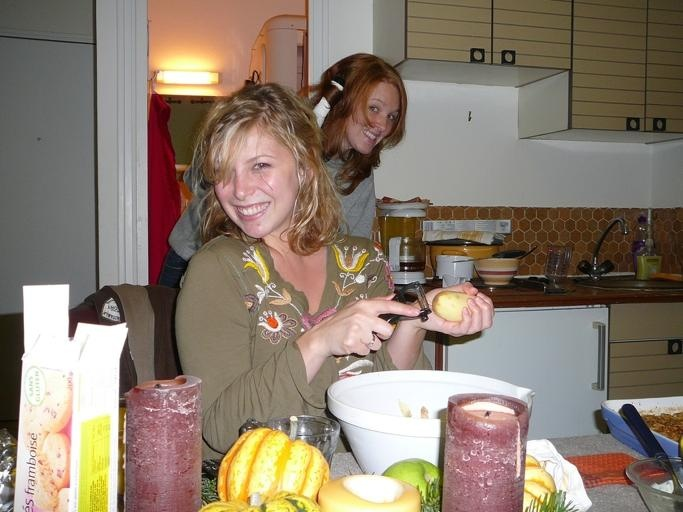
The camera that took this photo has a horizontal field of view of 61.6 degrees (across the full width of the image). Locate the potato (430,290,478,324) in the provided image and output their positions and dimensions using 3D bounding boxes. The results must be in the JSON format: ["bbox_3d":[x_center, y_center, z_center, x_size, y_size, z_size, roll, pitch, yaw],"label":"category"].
[{"bbox_3d":[0.248,0.111,1.261,0.076,0.060,0.045,12,16,-27],"label":"potato"}]

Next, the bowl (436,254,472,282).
[{"bbox_3d":[0.522,0.048,2.682,0.119,0.084,0.124,4,5,0],"label":"bowl"}]

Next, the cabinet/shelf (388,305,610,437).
[{"bbox_3d":[0.732,0.412,2.646,0.845,0.872,0.518,0,4,-4],"label":"cabinet/shelf"}]

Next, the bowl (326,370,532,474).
[{"bbox_3d":[0.131,0.279,1.061,0.261,0.110,0.248,0,4,0],"label":"bowl"}]

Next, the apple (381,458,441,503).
[{"bbox_3d":[0.110,0.332,0.865,0.065,0.069,0.069,5,20,-1],"label":"apple"}]

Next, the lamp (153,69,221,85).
[{"bbox_3d":[-1.039,-1.183,3.792,0.406,0.088,0.089,1,34,-10],"label":"lamp"}]

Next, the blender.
[{"bbox_3d":[0.312,-0.074,2.812,0.220,0.420,0.292,5,29,16],"label":"blender"}]

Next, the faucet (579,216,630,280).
[{"bbox_3d":[1.420,-0.042,3.144,0.230,0.321,0.509,1,5,23],"label":"faucet"}]

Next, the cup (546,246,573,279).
[{"bbox_3d":[1.017,0.034,2.690,0.107,0.153,0.155,3,6,42],"label":"cup"}]

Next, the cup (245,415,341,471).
[{"bbox_3d":[-0.077,0.285,0.950,0.106,0.096,0.093,0,9,-4],"label":"cup"}]

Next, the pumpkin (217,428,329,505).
[{"bbox_3d":[-0.094,0.270,0.811,0.106,0.116,0.111,12,-6,-6],"label":"pumpkin"}]

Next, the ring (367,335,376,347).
[{"bbox_3d":[0.058,0.169,1.133,0.007,0.021,0.018,8,2,0],"label":"ring"}]
